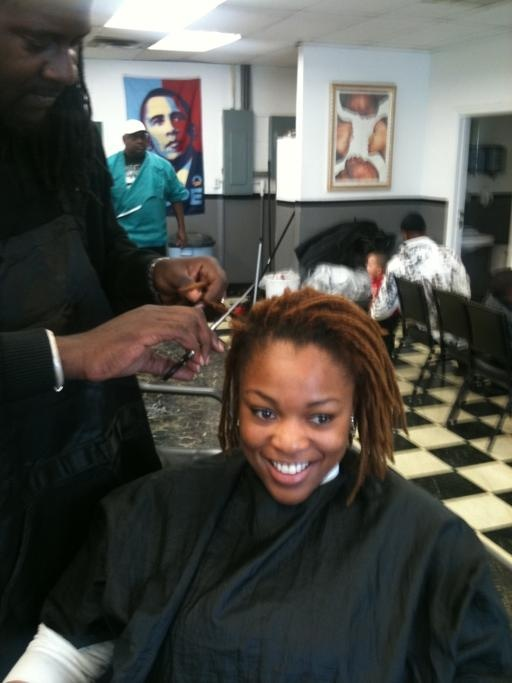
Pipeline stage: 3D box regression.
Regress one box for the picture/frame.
[{"bbox_3d":[1.282,-2.602,6.245,1.280,1.514,0.150,-7,18,-22],"label":"picture/frame"}]
